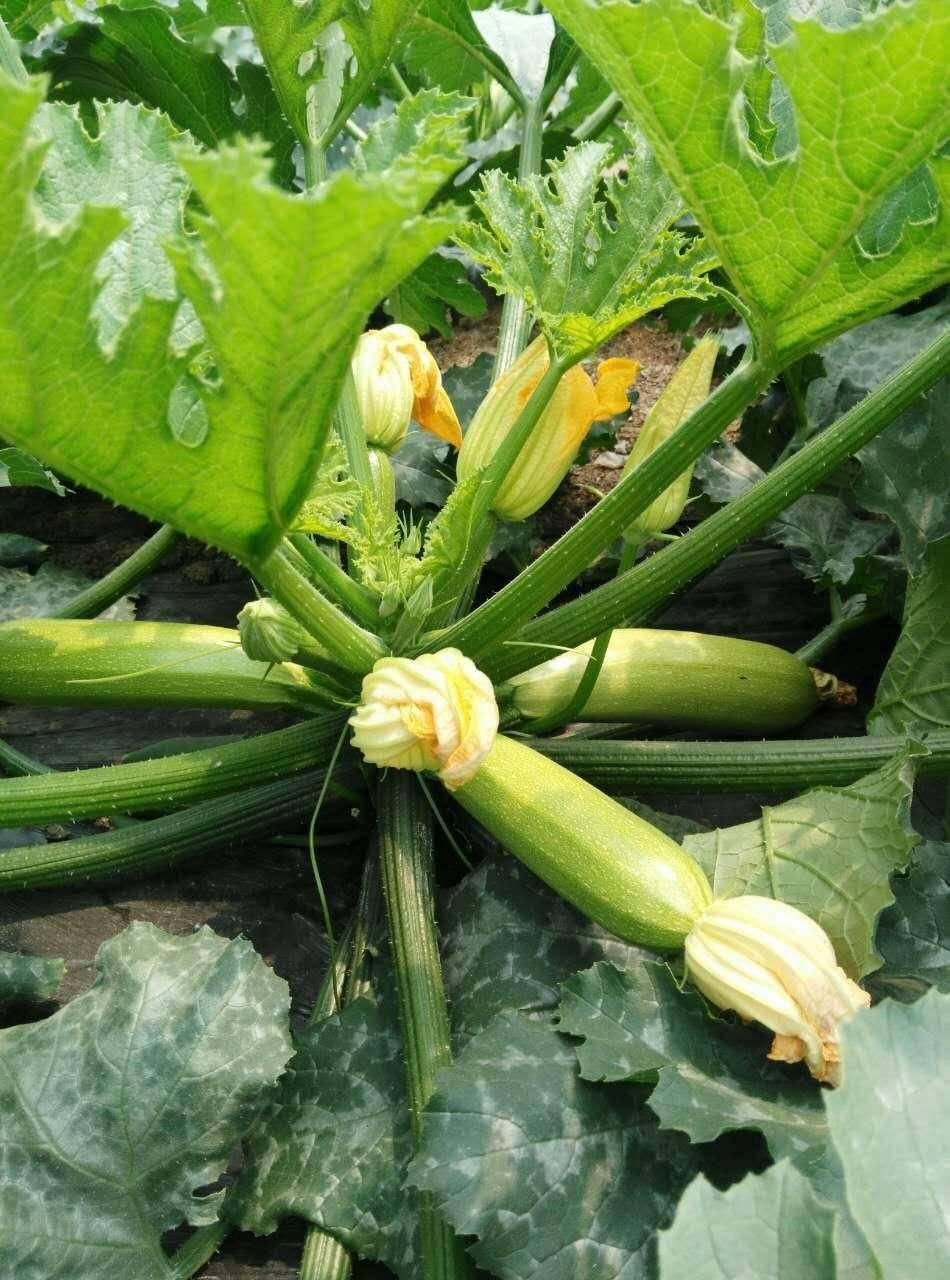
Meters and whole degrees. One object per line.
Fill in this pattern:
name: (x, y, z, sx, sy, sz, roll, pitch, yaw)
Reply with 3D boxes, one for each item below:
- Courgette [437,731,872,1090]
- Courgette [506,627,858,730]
Courgette: (0.099, 0.217, 1.092, 0.157, 0.136, 0.553, -31, 41, -29)
Courgette: (0.251, 0.072, 1.416, 0.493, 0.107, 0.123, 4, 26, -13)
